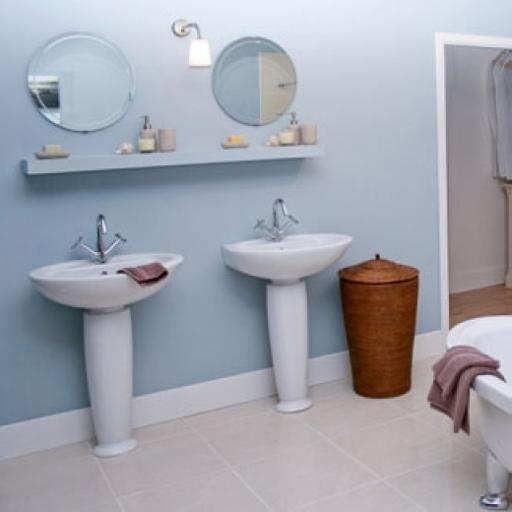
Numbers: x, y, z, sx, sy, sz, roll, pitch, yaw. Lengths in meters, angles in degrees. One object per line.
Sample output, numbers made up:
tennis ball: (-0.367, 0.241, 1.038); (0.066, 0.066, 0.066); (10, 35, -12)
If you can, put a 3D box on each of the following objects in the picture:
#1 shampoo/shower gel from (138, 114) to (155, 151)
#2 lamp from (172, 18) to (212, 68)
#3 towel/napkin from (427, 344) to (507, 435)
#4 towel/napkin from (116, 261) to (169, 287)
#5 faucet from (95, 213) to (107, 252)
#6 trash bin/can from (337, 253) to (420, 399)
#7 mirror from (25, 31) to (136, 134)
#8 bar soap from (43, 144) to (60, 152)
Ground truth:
shampoo/shower gel: (-0.508, -0.565, 2.369); (0.071, 0.175, 0.074); (1, 11, 8)
lamp: (-0.306, -1.006, 2.407); (0.177, 0.213, 0.114); (3, 18, 3)
towel/napkin: (0.633, 0.394, 1.649); (0.230, 0.330, 0.310); (0, 2, 7)
towel/napkin: (-0.463, 0.078, 2.096); (0.117, 0.074, 0.202); (6, 12, 43)
faucet: (-0.697, -0.095, 2.285); (0.053, 0.178, 0.270); (-5, 9, -17)
trash bin/can: (0.708, 0.367, 2.850); (0.404, 0.716, 0.428); (-6, 8, -10)
mirror: (-0.783, -0.767, 2.296); (0.450, 0.509, 0.043); (-3, -11, -16)
bar soap: (-0.884, -0.463, 2.180); (0.060, 0.028, 0.059); (-13, 20, -41)
